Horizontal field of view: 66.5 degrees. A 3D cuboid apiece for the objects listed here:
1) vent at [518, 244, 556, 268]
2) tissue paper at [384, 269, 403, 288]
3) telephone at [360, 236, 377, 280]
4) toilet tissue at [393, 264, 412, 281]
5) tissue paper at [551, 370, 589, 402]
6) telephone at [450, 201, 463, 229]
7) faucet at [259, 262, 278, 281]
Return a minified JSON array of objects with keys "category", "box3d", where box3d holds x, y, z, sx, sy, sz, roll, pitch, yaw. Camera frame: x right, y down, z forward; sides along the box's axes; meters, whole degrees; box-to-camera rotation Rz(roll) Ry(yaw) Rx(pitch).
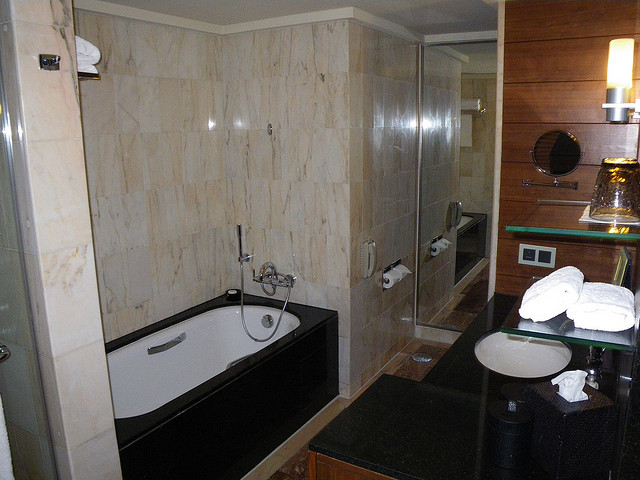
[{"category":"vent","box3d":[1.375,0.095,3.080,0.211,0.140,0.041,8,17,29]},{"category":"tissue paper","box3d":[0.615,0.311,4.078,0.120,0.133,0.173,4,14,27]},{"category":"telephone","box3d":[0.395,0.141,3.761,0.081,0.344,0.253,6,17,26]},{"category":"toilet tissue","box3d":[0.720,0.269,4.185,0.099,0.039,0.124,-23,34,-29]},{"category":"tissue paper","box3d":[0.756,0.430,1.472,0.085,0.028,0.088,16,34,28]},{"category":"telephone","box3d":[1.201,-0.225,4.324,0.039,0.186,0.125,5,7,31]},{"category":"faucet","box3d":[-0.399,0.249,3.801,0.164,0.146,0.105,-9,17,-24]}]
